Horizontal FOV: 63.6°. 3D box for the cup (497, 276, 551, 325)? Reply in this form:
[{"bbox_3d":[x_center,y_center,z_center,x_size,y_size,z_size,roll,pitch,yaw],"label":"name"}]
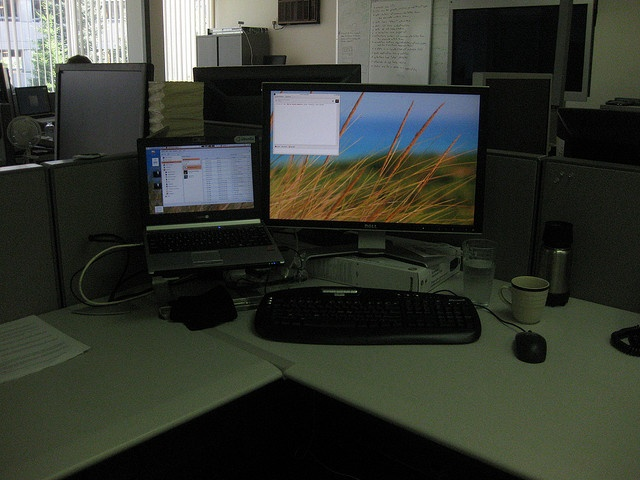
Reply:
[{"bbox_3d":[0.574,0.168,1.478,0.107,0.109,0.157,-4,6,-14],"label":"cup"}]

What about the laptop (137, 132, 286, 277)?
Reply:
[{"bbox_3d":[-0.350,-0.127,1.627,0.480,0.427,0.349,-5,32,-14],"label":"laptop"}]

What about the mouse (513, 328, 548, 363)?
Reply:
[{"bbox_3d":[0.528,0.253,1.281,0.091,0.052,0.056,-17,-40,42],"label":"mouse"}]

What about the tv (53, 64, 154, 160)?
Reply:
[{"bbox_3d":[-0.908,-0.551,2.125,0.019,0.323,0.366,29,31,31],"label":"tv"}]
